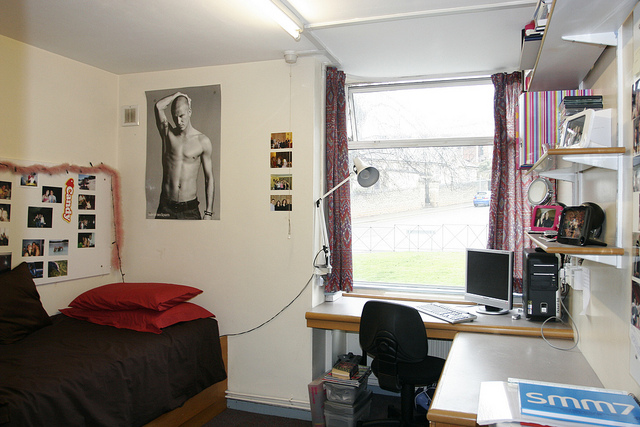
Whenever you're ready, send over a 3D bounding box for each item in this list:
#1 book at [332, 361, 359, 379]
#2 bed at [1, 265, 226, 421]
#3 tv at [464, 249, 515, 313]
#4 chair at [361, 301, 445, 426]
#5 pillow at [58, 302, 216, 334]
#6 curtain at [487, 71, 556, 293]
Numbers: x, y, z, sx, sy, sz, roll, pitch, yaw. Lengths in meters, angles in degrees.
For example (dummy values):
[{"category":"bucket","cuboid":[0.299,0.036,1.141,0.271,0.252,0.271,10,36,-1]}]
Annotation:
[{"category":"book","cuboid":[0.213,1.315,3.891,0.180,0.080,0.133,-1,0,27]},{"category":"bed","cuboid":[-1.630,1.078,3.536,1.263,0.545,1.282,0,-3,20]},{"category":"tv","cuboid":[1.479,0.582,3.978,0.479,0.537,0.285,-3,-8,40]},{"category":"chair","cuboid":[0.645,1.199,3.693,0.637,1.053,0.450,-1,0,15]},{"category":"pillow","cuboid":[-1.614,0.888,3.975,0.658,0.115,0.453,3,-4,17]},{"category":"curtain","cuboid":[1.704,-0.279,4.137,0.377,1.987,0.198,-1,1,26]}]
